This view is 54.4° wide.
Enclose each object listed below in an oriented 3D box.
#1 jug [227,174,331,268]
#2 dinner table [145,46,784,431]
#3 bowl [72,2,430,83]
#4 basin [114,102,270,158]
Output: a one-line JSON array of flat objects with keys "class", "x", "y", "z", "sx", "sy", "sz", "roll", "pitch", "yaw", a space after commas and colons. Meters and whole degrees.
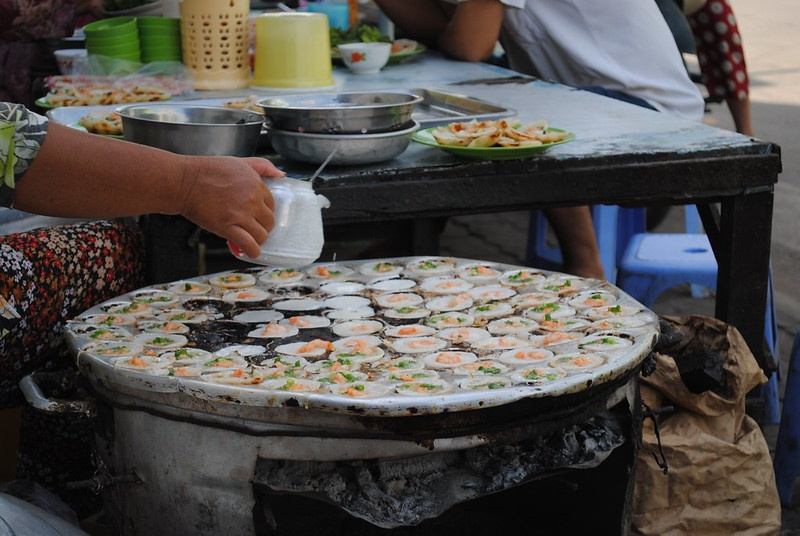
[{"class": "jug", "x": -0.280, "y": -0.131, "z": 2.154, "sx": 0.309, "sy": 0.219, "sz": 0.205, "roll": 8, "pitch": 12, "yaw": 33}, {"class": "dinner table", "x": 0.106, "y": -0.366, "z": 3.075, "sx": 2.030, "sy": 1.020, "sz": 1.975, "roll": -7, "pitch": 14, "yaw": -28}, {"class": "bowl", "x": -0.688, "y": -1.046, "z": 3.631, "sx": 1.114, "sy": 0.190, "sz": 0.928, "roll": -6, "pitch": 16, "yaw": -24}, {"class": "basin", "x": -0.633, "y": -0.425, "z": 2.380, "sx": 0.417, "sy": 0.146, "sz": 0.319, "roll": 13, "pitch": 23, "yaw": 37}]
